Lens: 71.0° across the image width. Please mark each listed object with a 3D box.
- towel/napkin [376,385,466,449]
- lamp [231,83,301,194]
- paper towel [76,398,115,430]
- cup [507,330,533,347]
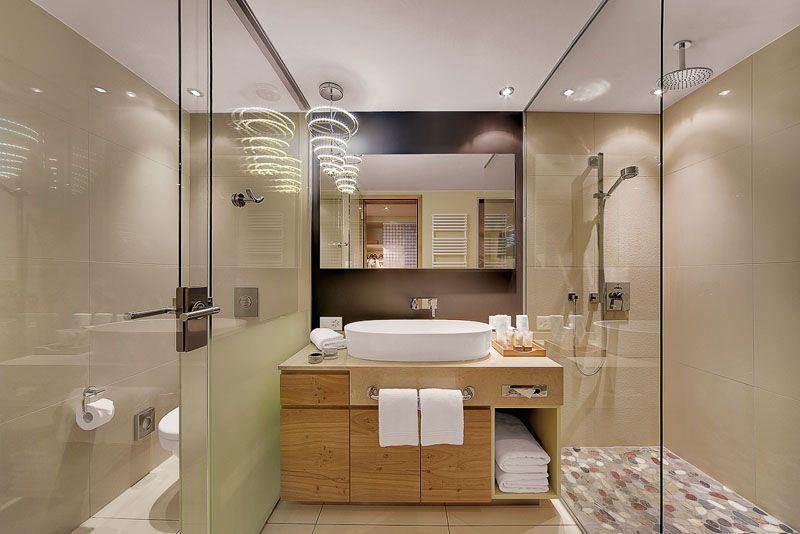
[{"bbox_3d":[0.121,0.859,3.190,0.496,0.344,0.122,0,-1,2],"label":"towel/napkin"},{"bbox_3d":[-0.749,-0.707,3.088,0.240,0.173,0.750,-5,-6,-4],"label":"lamp"},{"bbox_3d":[-1.224,0.590,2.269,0.110,0.114,0.135,1,2,-4],"label":"paper towel"},{"bbox_3d":[0.745,0.425,3.441,0.114,0.104,0.113,1,-1,0],"label":"cup"}]
